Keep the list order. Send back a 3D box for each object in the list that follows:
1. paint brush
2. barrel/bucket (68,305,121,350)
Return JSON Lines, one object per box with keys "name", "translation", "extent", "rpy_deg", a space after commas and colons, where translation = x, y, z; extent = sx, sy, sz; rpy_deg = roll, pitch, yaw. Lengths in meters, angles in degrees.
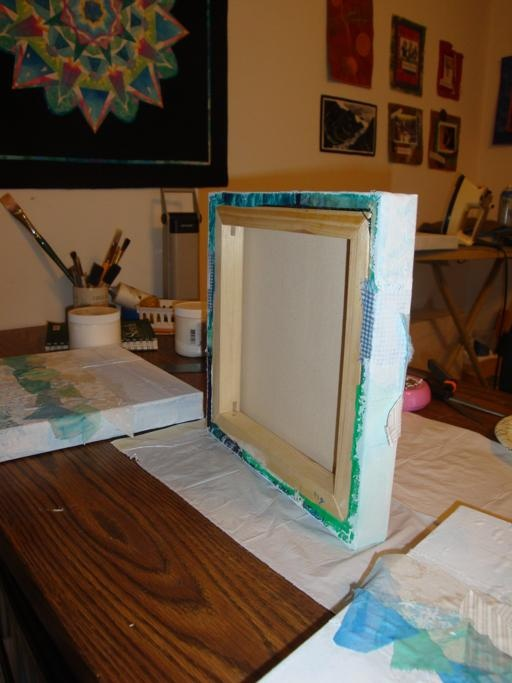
{"name": "paint brush", "translation": [-0.558, -0.289, 1.460], "extent": [0.145, 0.250, 0.169], "rpy_deg": [-39, 29, 16]}
{"name": "barrel/bucket", "translation": [-0.284, -0.027, 0.934], "extent": [0.080, 0.091, 0.080], "rpy_deg": [2, 14, 0]}
